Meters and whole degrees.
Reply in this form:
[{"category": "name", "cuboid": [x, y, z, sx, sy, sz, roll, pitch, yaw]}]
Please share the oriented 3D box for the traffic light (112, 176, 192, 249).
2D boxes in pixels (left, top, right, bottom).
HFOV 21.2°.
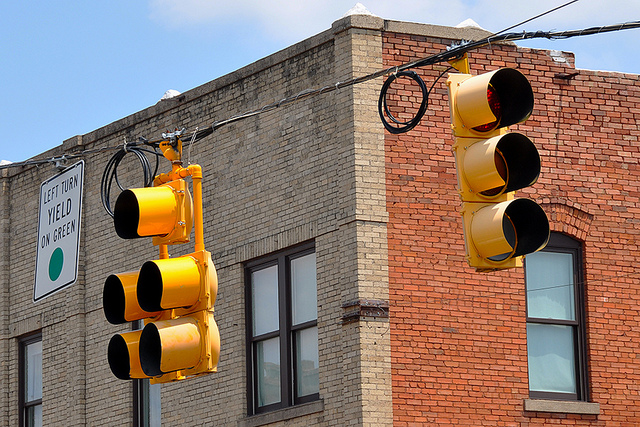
[{"category": "traffic light", "cuboid": [-2.548, -0.015, 26.158, 0.992, 0.918, 1.049, 1, -9, -31]}]
